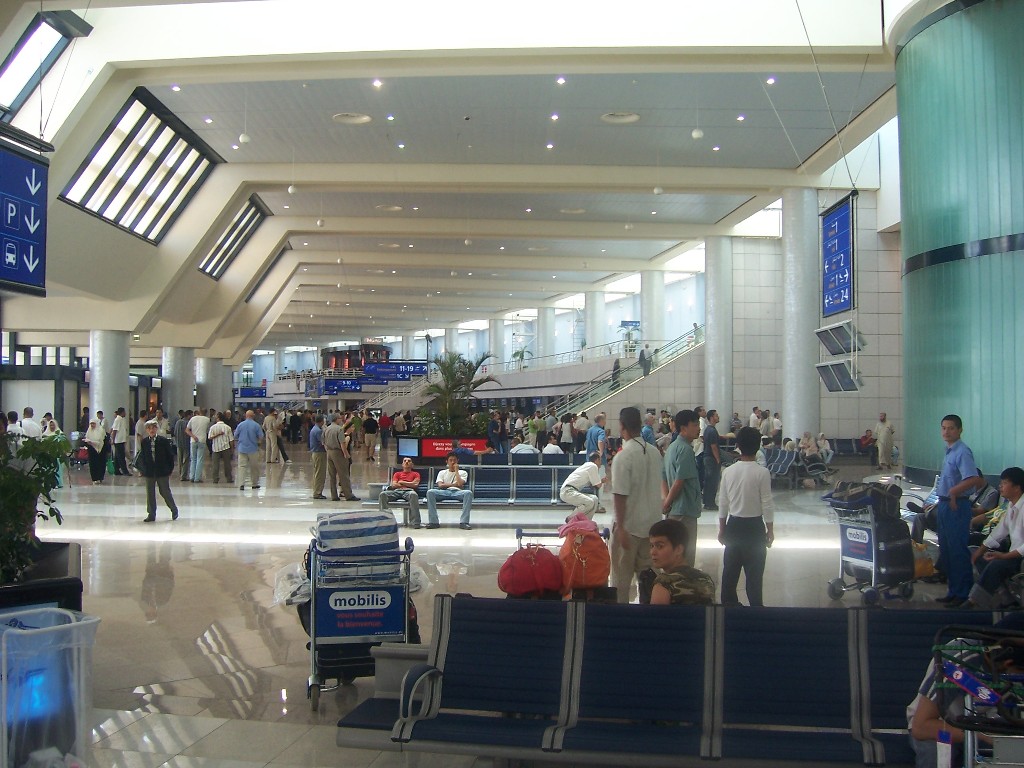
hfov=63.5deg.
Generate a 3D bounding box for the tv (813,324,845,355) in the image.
[{"bbox_3d":[6.089,-0.881,15.907,0.256,0.477,0.861,-14,-1,-7],"label":"tv"}]

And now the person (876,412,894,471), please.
[{"bbox_3d":[10.111,1.494,22.469,0.406,1.407,0.898,-4,-5,23],"label":"person"}]

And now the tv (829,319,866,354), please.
[{"bbox_3d":[5.830,-0.813,14.216,0.154,0.540,0.595,-25,33,-33],"label":"tv"}]

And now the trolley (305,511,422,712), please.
[{"bbox_3d":[-1.060,1.622,5.934,0.868,1.276,1.122,5,-17,-22],"label":"trolley"}]

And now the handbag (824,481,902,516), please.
[{"bbox_3d":[3.566,1.126,8.221,0.470,0.296,0.506,1,0,-23],"label":"handbag"}]

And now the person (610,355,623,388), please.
[{"bbox_3d":[3.755,-0.322,29.677,0.416,1.082,1.016,-2,-5,7],"label":"person"}]

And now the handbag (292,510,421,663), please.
[{"bbox_3d":[-1.056,1.356,5.984,0.967,1.005,0.807,3,-6,-5],"label":"handbag"}]

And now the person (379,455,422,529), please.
[{"bbox_3d":[-1.717,1.644,12.848,0.709,1.173,0.708,15,-23,-32],"label":"person"}]

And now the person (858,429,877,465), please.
[{"bbox_3d":[10.051,1.756,23.412,0.478,0.951,1.289,-4,-5,21],"label":"person"}]

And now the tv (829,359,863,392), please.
[{"bbox_3d":[5.790,-0.149,14.305,0.188,0.480,0.645,-6,12,-14],"label":"tv"}]

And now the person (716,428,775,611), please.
[{"bbox_3d":[1.899,1.094,6.864,0.513,1.462,0.398,-5,-6,38],"label":"person"}]

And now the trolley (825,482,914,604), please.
[{"bbox_3d":[3.606,1.580,8.401,0.672,1.200,0.757,-2,-3,-15],"label":"trolley"}]

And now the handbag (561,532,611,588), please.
[{"bbox_3d":[0.514,1.245,5.825,0.307,0.421,0.389,18,-23,-31],"label":"handbag"}]

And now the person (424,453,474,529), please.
[{"bbox_3d":[-0.936,1.644,12.688,0.744,1.219,0.778,-13,-19,42],"label":"person"}]

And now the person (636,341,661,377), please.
[{"bbox_3d":[4.883,-0.740,29.198,0.692,0.956,0.534,-1,-5,-9],"label":"person"}]

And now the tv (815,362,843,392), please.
[{"bbox_3d":[6.160,-0.159,16.089,0.051,0.490,0.731,-25,12,-3],"label":"tv"}]

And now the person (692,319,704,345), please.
[{"bbox_3d":[6.661,-1.785,29.496,0.408,0.829,0.948,-3,-5,12],"label":"person"}]

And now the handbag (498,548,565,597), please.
[{"bbox_3d":[0.146,1.223,5.401,0.487,0.406,0.261,5,-26,-9],"label":"handbag"}]
